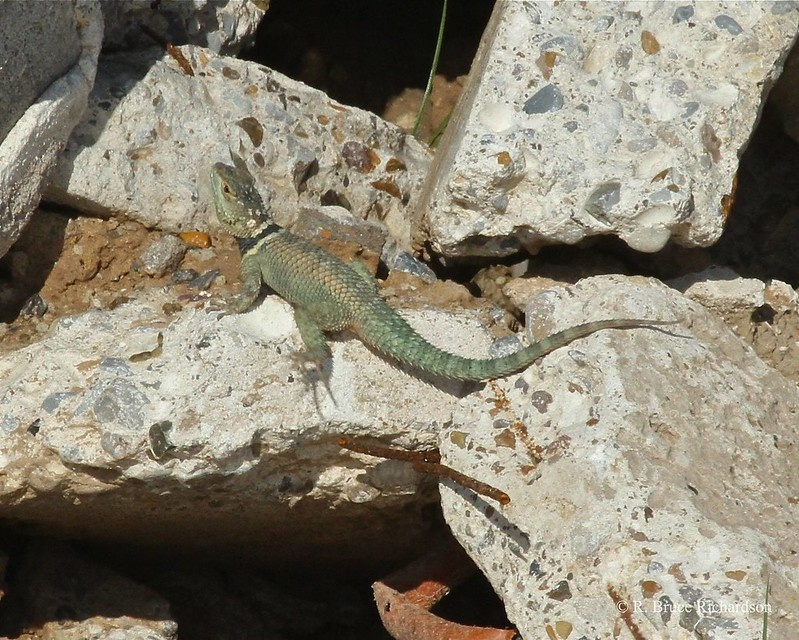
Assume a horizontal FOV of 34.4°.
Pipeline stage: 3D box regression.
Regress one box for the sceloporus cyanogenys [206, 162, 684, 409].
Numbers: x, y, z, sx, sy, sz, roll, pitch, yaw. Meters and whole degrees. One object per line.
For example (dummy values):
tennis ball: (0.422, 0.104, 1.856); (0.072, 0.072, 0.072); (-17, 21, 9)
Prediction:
sceloporus cyanogenys: (-0.448, 0.119, 5.897); (0.778, 0.805, 2.678); (-22, 39, 2)
